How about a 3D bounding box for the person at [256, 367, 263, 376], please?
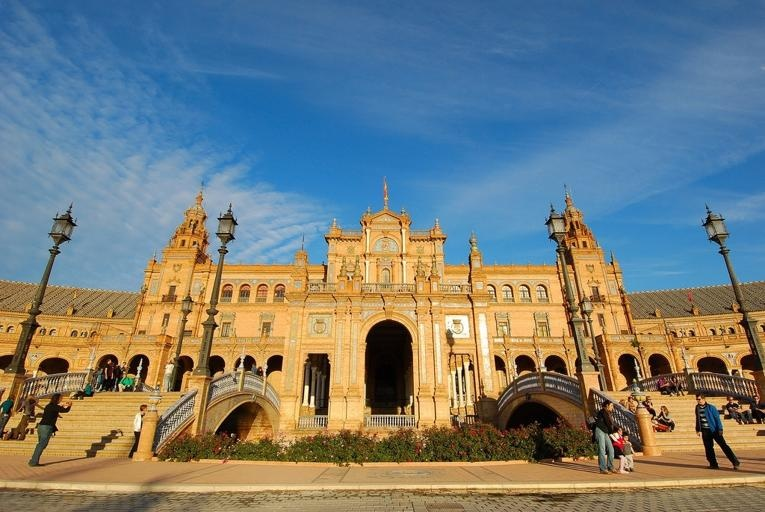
[{"bbox_3d":[-13.210,12.439,44.743,0.443,0.880,1.870,5,-13,-20],"label":"person"}]
